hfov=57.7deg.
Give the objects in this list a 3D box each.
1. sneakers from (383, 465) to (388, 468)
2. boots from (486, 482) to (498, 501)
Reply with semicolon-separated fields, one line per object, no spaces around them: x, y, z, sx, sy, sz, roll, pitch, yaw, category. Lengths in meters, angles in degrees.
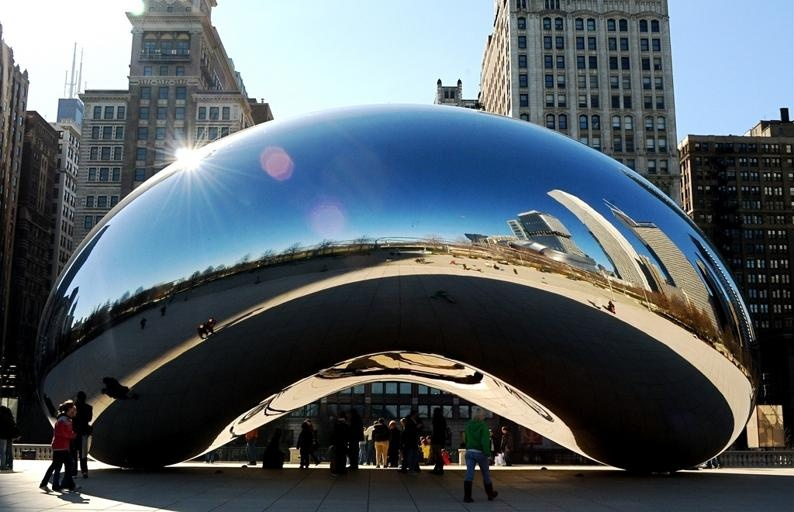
-0.342;6.213;21.105;0.158;0.060;0.211;-1;-4;0;sneakers
1.780;4.513;13.830;0.220;0.328;0.511;-1;-10;8;boots
